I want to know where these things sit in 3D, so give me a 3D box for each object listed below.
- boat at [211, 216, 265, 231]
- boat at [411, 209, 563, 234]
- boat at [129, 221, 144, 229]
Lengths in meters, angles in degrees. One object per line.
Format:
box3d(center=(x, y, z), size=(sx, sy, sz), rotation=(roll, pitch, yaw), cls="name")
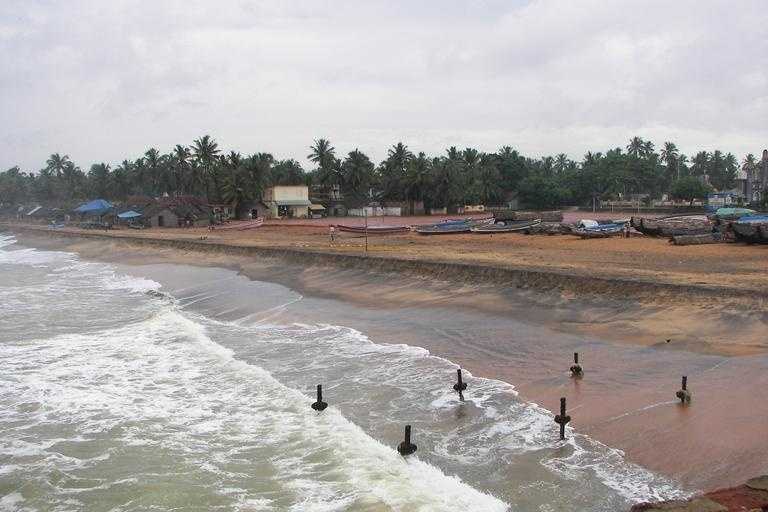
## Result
box3d(center=(-18.789, -4.083, 80.197), size=(5.974, 0.936, 3.500), rotation=(-4, 8, -40), cls="boat")
box3d(center=(9.839, -2.860, 57.797), size=(13.176, 1.385, 10.499), rotation=(-9, 12, -32), cls="boat")
box3d(center=(-31.530, -3.830, 79.779), size=(1.867, 0.372, 1.450), rotation=(12, 11, 8), cls="boat")
